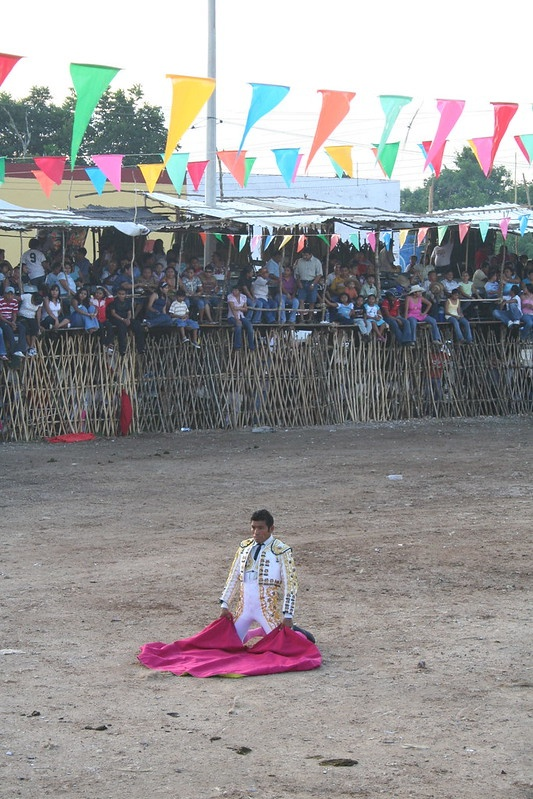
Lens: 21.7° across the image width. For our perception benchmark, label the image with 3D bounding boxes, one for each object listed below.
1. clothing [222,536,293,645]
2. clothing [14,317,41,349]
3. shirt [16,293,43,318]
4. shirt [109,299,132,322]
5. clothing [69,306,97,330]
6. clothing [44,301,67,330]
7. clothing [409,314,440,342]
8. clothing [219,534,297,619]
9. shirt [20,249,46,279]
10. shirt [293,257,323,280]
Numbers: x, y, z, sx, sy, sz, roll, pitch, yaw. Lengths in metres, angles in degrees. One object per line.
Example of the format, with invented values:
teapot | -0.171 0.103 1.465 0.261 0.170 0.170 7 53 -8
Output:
clothing | -0.065 1.400 9.906 0.503 1.276 0.243 4 18 10
clothing | -3.298 -0.901 19.089 0.225 0.431 0.196 0 1 -30
shirt | -3.291 -1.277 19.234 0.215 0.410 0.298 19 12 40
shirt | -2.083 -1.268 20.149 0.284 0.328 0.518 1 3 19
clothing | -2.590 -1.125 19.674 0.385 0.334 0.259 0 2 -8
clothing | -2.984 -1.183 19.636 0.366 0.455 0.517 0 2 -8
clothing | 2.603 -1.184 23.045 0.452 0.606 0.464 3 -28 -6
clothing | -0.055 1.294 9.770 0.503 0.637 0.279 1 3 32
shirt | -3.555 -2.039 21.173 0.367 0.464 0.567 0 2 -10
shirt | 0.681 -2.137 23.065 0.544 0.558 0.337 0 3 -5
